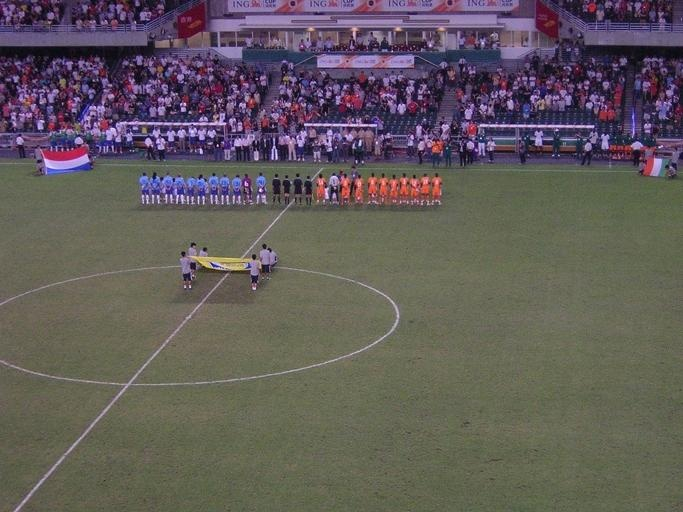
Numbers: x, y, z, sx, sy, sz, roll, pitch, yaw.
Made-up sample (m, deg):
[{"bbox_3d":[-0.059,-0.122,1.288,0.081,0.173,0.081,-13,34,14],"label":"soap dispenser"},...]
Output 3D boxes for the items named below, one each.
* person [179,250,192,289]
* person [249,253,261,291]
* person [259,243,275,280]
[{"bbox_3d":[-7.675,0.717,67.827,0.521,1.752,1.218,-5,19,-8],"label":"person"},{"bbox_3d":[-4.305,0.661,67.746,0.526,1.848,1.591,-4,18,-4],"label":"person"},{"bbox_3d":[-3.773,0.165,68.674,0.587,1.910,1.573,2,19,12],"label":"person"}]
